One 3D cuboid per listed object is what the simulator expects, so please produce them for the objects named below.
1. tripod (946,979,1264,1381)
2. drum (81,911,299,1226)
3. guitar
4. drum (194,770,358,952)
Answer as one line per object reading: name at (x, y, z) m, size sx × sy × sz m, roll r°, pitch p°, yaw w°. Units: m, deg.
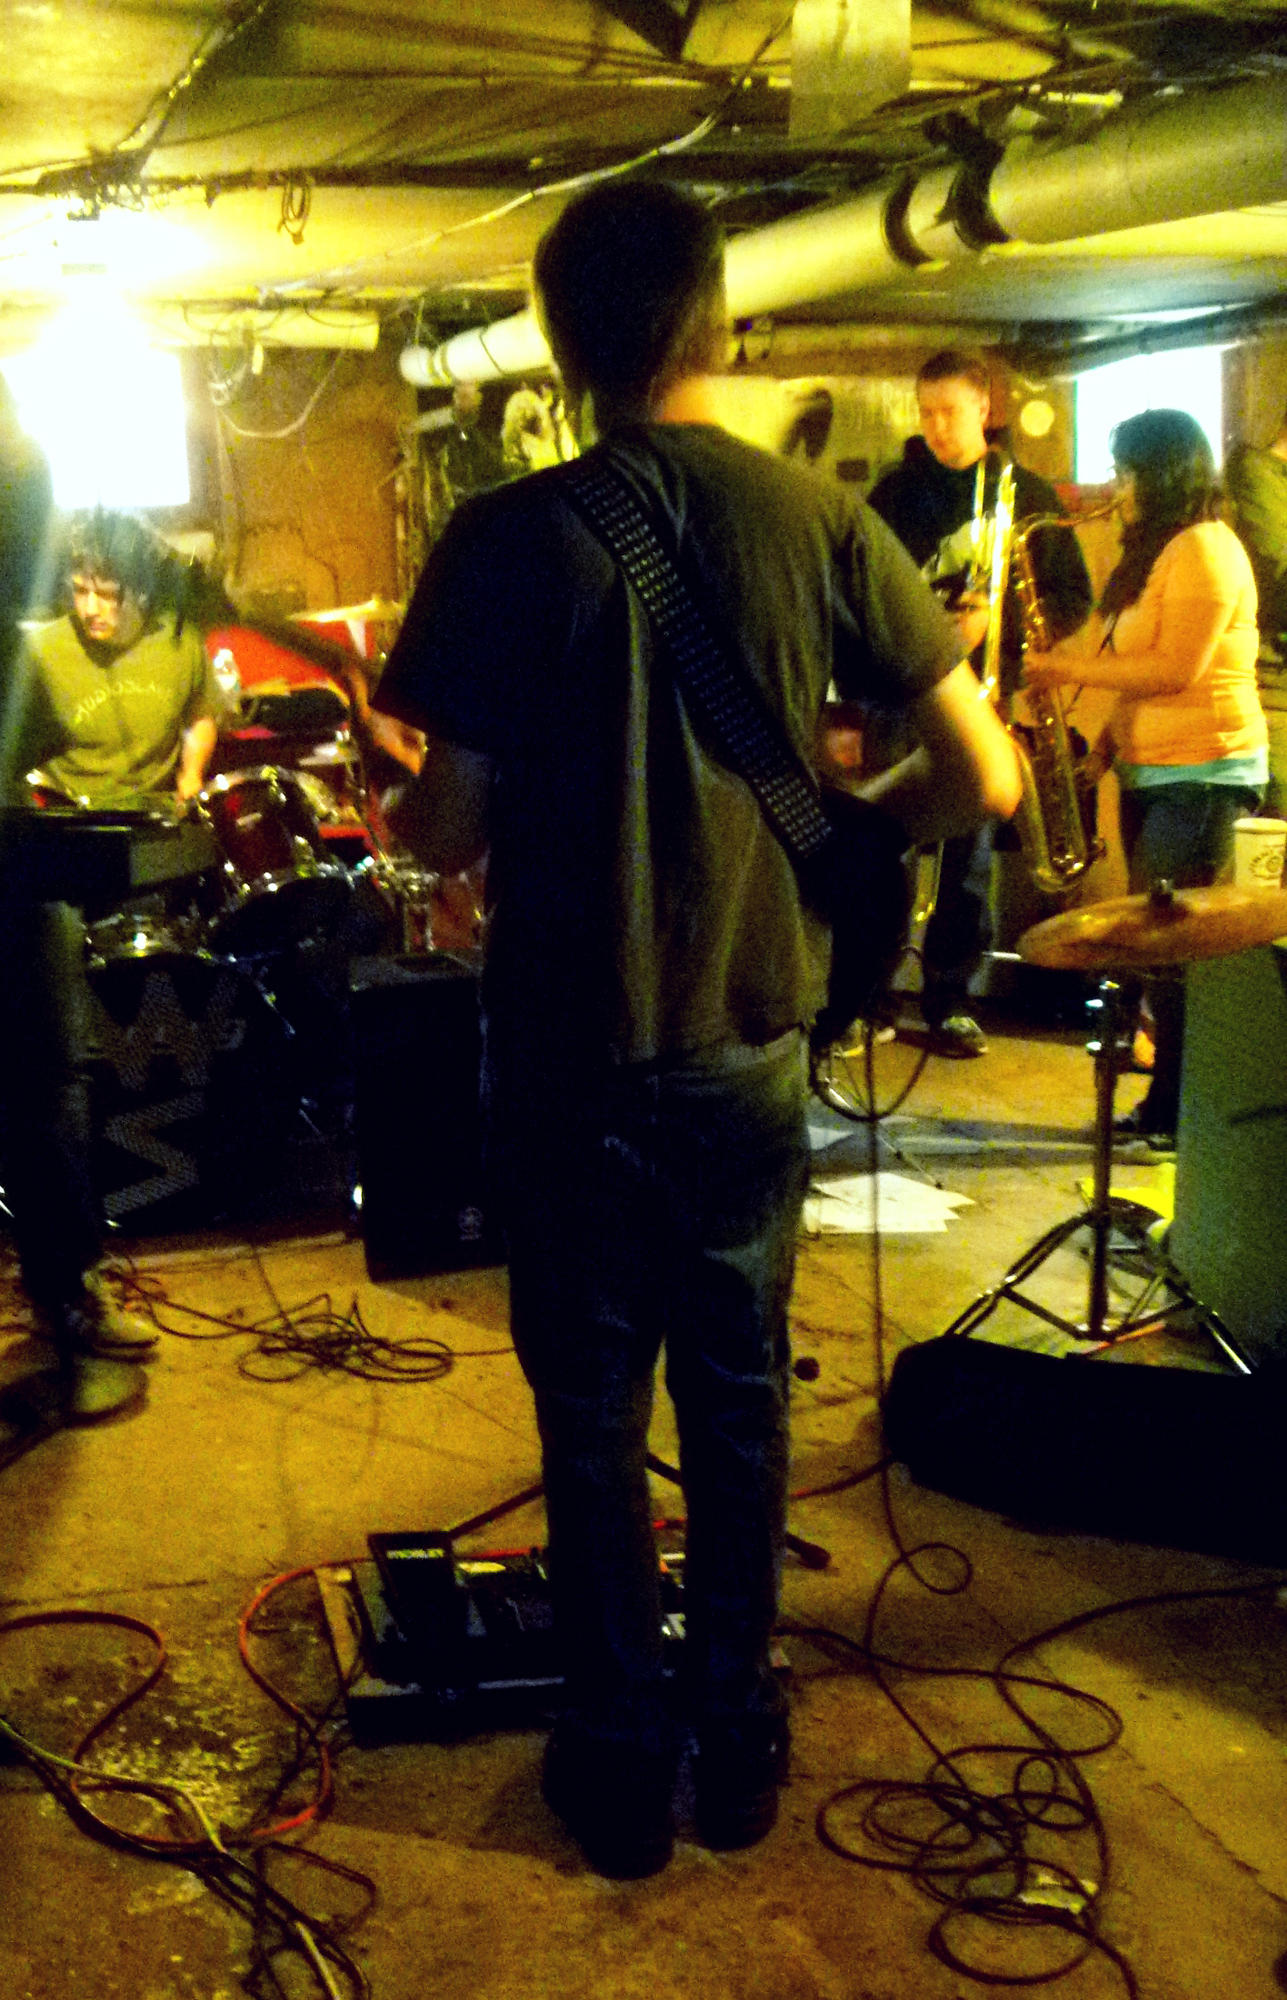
tripod at (0.907, 0.349, 3.274) m, size 0.614 × 0.712 × 0.653 m, roll 4°, pitch 5°, yaw 36°
drum at (-1.095, 0.181, 4.521) m, size 0.666 × 0.666 × 0.602 m, roll -3°, pitch 8°, yaw -43°
guitar at (0.035, -0.209, 1.619) m, size 0.569 × 0.541 × 0.117 m, roll -6°, pitch 10°, yaw -39°
drum at (-1.028, -0.396, 4.382) m, size 0.425 × 0.319 × 0.416 m, roll -30°, pitch -2°, yaw -1°
